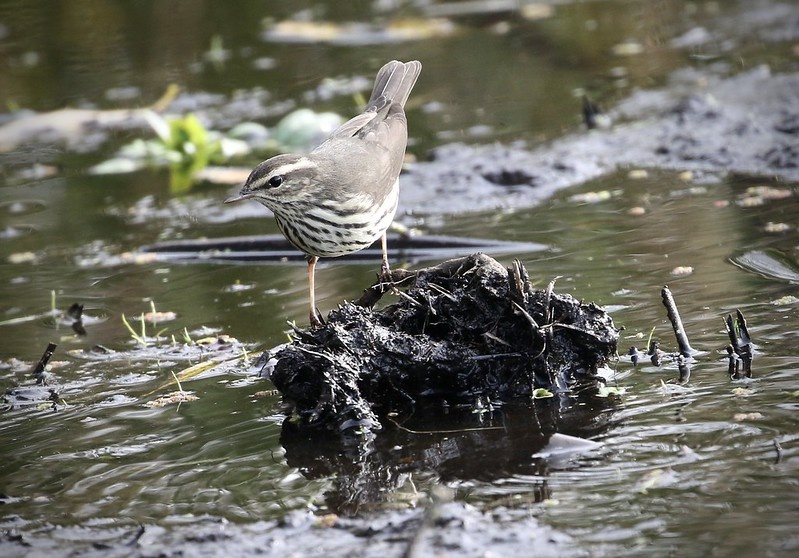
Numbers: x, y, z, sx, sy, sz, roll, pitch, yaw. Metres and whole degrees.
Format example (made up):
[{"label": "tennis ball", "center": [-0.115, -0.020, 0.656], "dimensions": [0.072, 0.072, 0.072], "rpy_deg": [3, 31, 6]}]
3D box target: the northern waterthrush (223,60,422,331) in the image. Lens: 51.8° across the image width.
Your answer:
[{"label": "northern waterthrush", "center": [-0.427, -0.604, 6.483], "dimensions": [0.897, 1.770, 1.847], "rpy_deg": [-10, 1, 19]}]
